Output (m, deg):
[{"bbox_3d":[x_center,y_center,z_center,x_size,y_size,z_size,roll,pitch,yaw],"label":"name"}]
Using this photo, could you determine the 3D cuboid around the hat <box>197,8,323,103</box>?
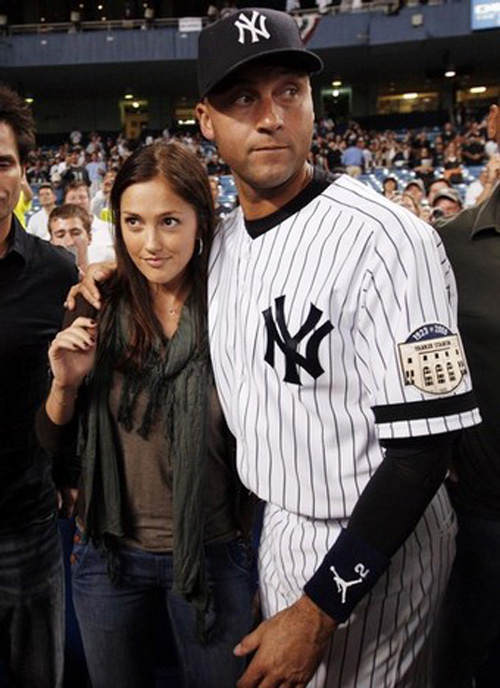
[{"bbox_3d":[-0.005,-0.515,1.099,0.157,0.105,0.205,-18,13,-17],"label":"hat"}]
